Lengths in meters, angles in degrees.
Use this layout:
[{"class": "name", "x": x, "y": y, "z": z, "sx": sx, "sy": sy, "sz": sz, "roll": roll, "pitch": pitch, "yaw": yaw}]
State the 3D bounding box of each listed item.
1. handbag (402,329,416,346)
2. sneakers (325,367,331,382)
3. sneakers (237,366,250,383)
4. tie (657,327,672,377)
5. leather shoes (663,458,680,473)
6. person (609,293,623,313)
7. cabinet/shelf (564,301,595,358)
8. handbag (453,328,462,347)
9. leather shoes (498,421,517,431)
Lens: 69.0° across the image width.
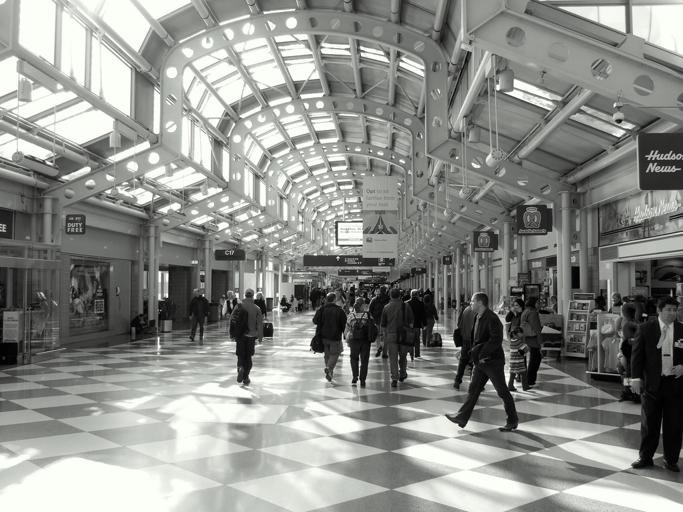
[{"class": "handbag", "x": 1.277, "y": 1.539, "z": 9.506, "sx": 0.175, "sy": 0.306, "sz": 0.311, "roll": -6, "pitch": -9, "yaw": 41}, {"class": "sneakers", "x": -0.272, "y": 2.301, "z": 9.766, "sx": 0.101, "sy": 0.300, "sz": 0.126, "roll": -2, "pitch": -7, "yaw": 15}, {"class": "sneakers", "x": -1.877, "y": 2.272, "z": 9.507, "sx": 0.161, "sy": 0.274, "sz": 0.474, "roll": 1, "pitch": -11, "yaw": 2}, {"class": "tie", "x": 3.401, "y": 0.972, "z": 5.227, "sx": 0.141, "sy": 0.547, "sz": 0.049, "roll": -2, "pitch": -7, "yaw": 29}, {"class": "leather shoes", "x": 3.474, "y": 2.206, "z": 5.261, "sx": 0.069, "sy": 0.078, "sz": 0.199, "roll": -3, "pitch": -13, "yaw": 7}, {"class": "person", "x": 5.987, "y": 1.006, "z": 10.837, "sx": 0.246, "sy": 0.467, "sz": 1.113, "roll": -2, "pitch": -7, "yaw": 29}, {"class": "cabinet/shelf", "x": 6.119, "y": 1.801, "z": 12.773, "sx": 0.602, "sy": 1.387, "sz": 0.292, "roll": -3, "pitch": -1, "yaw": 43}, {"class": "handbag", "x": 2.120, "y": 1.461, "z": 9.075, "sx": 0.074, "sy": 0.281, "sz": 0.306, "roll": 3, "pitch": -12, "yaw": 11}, {"class": "leather shoes", "x": 2.228, "y": 2.231, "z": 6.598, "sx": 0.276, "sy": 0.142, "sz": 0.167, "roll": 2, "pitch": -6, "yaw": -1}]
